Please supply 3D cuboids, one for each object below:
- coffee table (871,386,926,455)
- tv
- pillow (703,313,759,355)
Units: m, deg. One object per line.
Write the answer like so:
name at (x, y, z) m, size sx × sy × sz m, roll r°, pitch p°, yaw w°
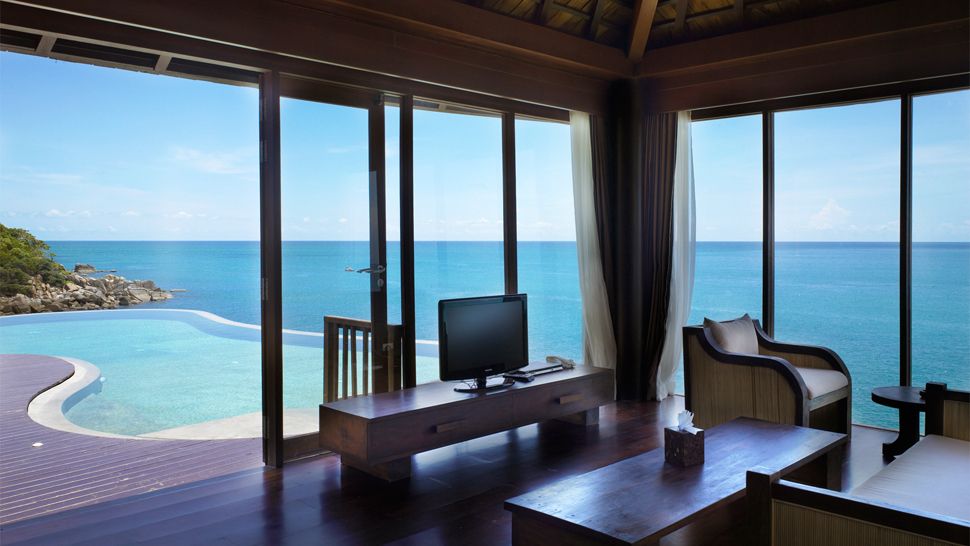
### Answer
coffee table at (4.500, 1.667, 6.194) m, size 0.688 × 0.591 × 0.654 m, roll -4°, pitch -18°, yaw 37°
tv at (-0.024, 0.780, 6.243) m, size 1.185 × 0.847 × 0.299 m, roll -5°, pitch 7°, yaw -31°
pillow at (2.818, 0.686, 6.633) m, size 0.579 × 0.384 × 0.195 m, roll -9°, pitch 9°, yaw -7°
